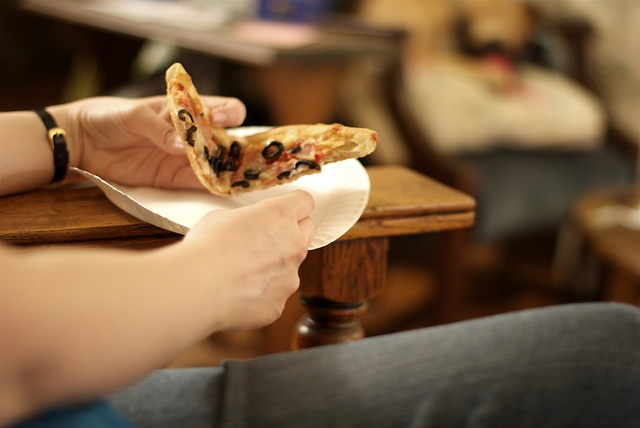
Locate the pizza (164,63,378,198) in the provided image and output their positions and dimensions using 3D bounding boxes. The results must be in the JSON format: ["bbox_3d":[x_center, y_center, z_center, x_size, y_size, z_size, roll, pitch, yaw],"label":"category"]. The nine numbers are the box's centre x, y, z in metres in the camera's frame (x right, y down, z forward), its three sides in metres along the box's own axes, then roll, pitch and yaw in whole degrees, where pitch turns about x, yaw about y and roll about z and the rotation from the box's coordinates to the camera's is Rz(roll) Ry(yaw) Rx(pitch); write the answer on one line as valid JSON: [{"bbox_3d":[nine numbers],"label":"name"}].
[{"bbox_3d":[-0.102,-0.196,1.223,0.398,0.252,0.183,-11,26,4],"label":"pizza"}]

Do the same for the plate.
[{"bbox_3d":[-0.171,-0.035,1.134,0.550,0.164,0.293,-7,46,-3],"label":"plate"}]
